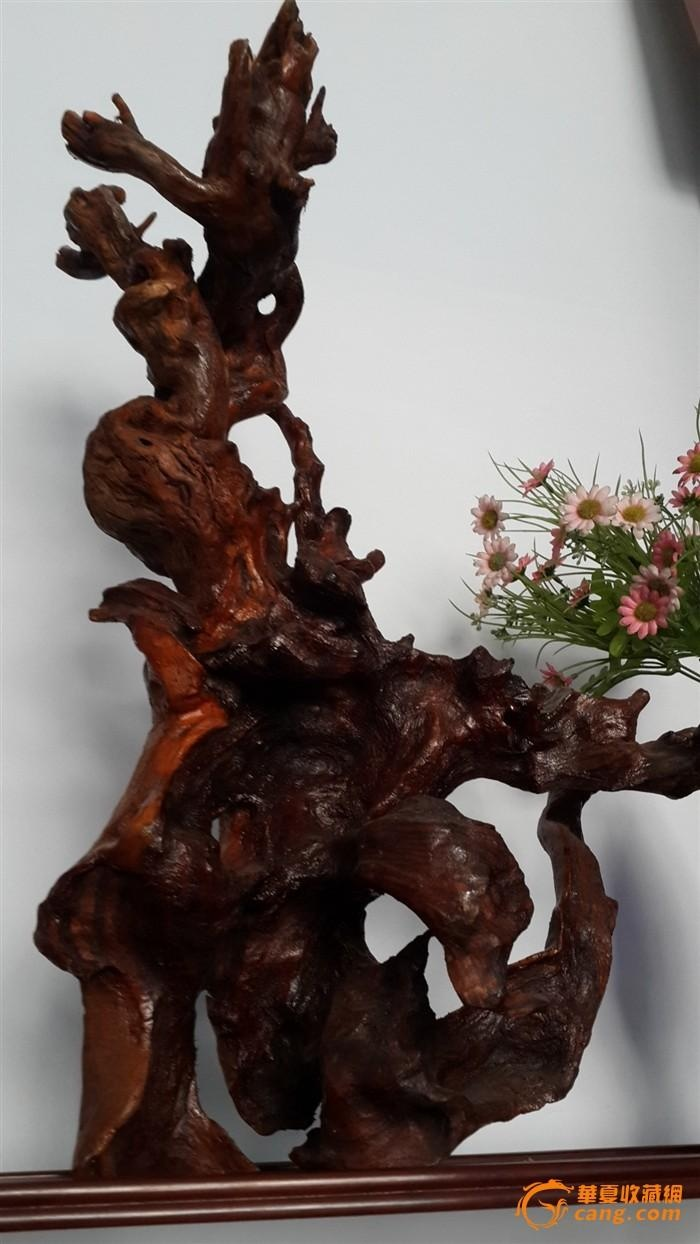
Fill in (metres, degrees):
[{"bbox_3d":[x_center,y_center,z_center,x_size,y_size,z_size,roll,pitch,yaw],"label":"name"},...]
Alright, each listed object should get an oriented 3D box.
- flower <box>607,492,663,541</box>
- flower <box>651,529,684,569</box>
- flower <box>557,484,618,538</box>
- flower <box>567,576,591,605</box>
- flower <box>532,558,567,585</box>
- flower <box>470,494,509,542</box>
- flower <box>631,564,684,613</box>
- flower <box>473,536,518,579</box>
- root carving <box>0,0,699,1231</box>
[{"bbox_3d":[0.288,-0.105,1.432,0.044,0.041,0.017,12,-12,21],"label":"flower"},{"bbox_3d":[0.312,-0.072,1.413,0.037,0.036,0.015,21,18,35],"label":"flower"},{"bbox_3d":[0.242,-0.113,1.450,0.052,0.050,0.018,5,-27,32],"label":"flower"},{"bbox_3d":[0.240,-0.030,1.501,0.014,0.025,0.025,33,44,-1],"label":"flower"},{"bbox_3d":[0.211,-0.054,1.528,0.028,0.013,0.027,-9,35,50],"label":"flower"},{"bbox_3d":[0.151,-0.110,1.551,0.031,0.048,0.052,0,25,-5],"label":"flower"},{"bbox_3d":[0.299,-0.033,1.392,0.047,0.045,0.020,29,-1,12],"label":"flower"},{"bbox_3d":[0.156,-0.065,1.562,0.048,0.045,0.017,8,-6,28],"label":"flower"},{"bbox_3d":[-0.137,0.059,1.782,1.221,1.055,0.283,-1,-3,-33],"label":"root carving"}]
